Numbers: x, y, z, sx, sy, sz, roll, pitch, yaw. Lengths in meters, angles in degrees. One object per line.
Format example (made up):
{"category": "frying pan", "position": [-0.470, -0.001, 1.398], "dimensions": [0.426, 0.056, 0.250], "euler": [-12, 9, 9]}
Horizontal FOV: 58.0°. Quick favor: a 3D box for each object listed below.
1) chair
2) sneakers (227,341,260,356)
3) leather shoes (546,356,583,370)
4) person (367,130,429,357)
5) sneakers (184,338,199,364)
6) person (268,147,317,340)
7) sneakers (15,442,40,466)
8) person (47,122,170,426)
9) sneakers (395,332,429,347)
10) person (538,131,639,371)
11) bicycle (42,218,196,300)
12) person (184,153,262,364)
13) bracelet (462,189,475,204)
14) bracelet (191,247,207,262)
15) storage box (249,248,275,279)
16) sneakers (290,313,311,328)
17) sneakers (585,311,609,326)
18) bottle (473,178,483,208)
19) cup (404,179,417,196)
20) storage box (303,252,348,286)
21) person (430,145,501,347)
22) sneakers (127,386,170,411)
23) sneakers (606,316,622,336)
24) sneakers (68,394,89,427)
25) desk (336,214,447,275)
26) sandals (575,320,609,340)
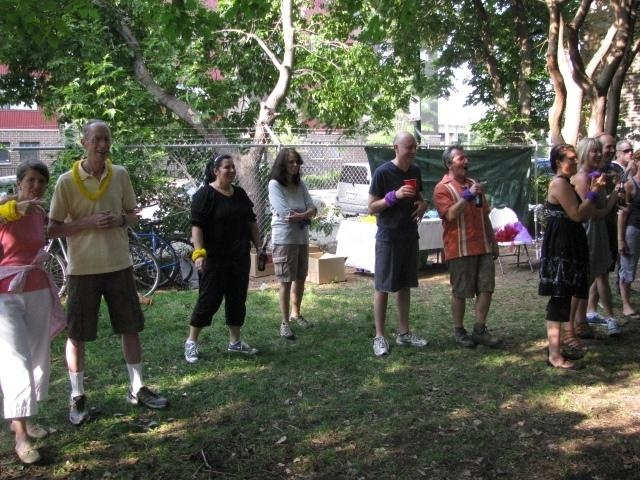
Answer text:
{"category": "chair", "position": [3.486, -0.007, 10.605], "dimensions": [0.777, 1.051, 0.804], "euler": [-2, -7, 28]}
{"category": "sneakers", "position": [-0.834, 1.165, 6.296], "dimensions": [0.325, 0.138, 0.131], "euler": [2, -1, 1]}
{"category": "leather shoes", "position": [2.430, 1.213, 5.708], "dimensions": [0.275, 0.066, 0.148], "euler": [3, 11, 45]}
{"category": "person", "position": [0.841, 0.019, 6.254], "dimensions": [0.687, 2.324, 0.603], "euler": [-4, 13, -13]}
{"category": "sneakers", "position": [-1.347, 1.167, 6.094], "dimensions": [0.102, 0.118, 0.294], "euler": [4, 7, -26]}
{"category": "person", "position": [-0.351, 0.016, 6.774], "dimensions": [0.481, 2.162, 0.680], "euler": [4, 14, 22]}
{"category": "sneakers", "position": [-2.239, 1.617, 4.426], "dimensions": [0.138, 0.132, 0.203], "euler": [-11, 16, -36]}
{"category": "person", "position": [-1.862, 0.245, 4.944], "dimensions": [0.813, 2.489, 0.573], "euler": [-7, 14, -24]}
{"category": "sneakers", "position": [1.041, 1.097, 6.444], "dimensions": [0.351, 0.150, 0.139], "euler": [1, 3, 8]}
{"category": "person", "position": [2.534, 0.130, 5.823], "dimensions": [0.548, 2.162, 0.852], "euler": [5, 15, 25]}
{"category": "bicycle", "position": [-3.147, 0.391, 9.240], "dimensions": [2.285, 1.394, 1.124], "euler": [-18, 5, -35]}
{"category": "person", "position": [-1.035, 0.190, 6.020], "dimensions": [0.892, 2.124, 0.489], "euler": [-6, 14, -19]}
{"category": "bracelet", "position": [1.580, -0.476, 6.130], "dimensions": [0.127, 0.125, 0.127], "euler": [-5, 25, 5]}
{"category": "bracelet", "position": [-1.200, 0.142, 5.745], "dimensions": [0.119, 0.072, 0.130], "euler": [-17, -7, 2]}
{"category": "storage box", "position": [-0.854, 0.368, 8.539], "dimensions": [0.505, 0.457, 0.265], "euler": [8, -11, -38]}
{"category": "sneakers", "position": [-0.233, 0.993, 7.158], "dimensions": [0.259, 0.110, 0.121], "euler": [19, 14, 13]}
{"category": "sneakers", "position": [3.328, 0.943, 6.960], "dimensions": [0.290, 0.124, 0.125], "euler": [2, 8, 7]}
{"category": "bottle", "position": [1.690, -0.441, 6.138], "dimensions": [0.087, 0.185, 0.173], "euler": [2, 13, 15]}
{"category": "cup", "position": [0.944, -0.558, 6.026], "dimensions": [0.147, 0.115, 0.144], "euler": [-8, 1, 0]}
{"category": "storage box", "position": [0.107, 0.457, 9.642], "dimensions": [0.507, 0.309, 0.505], "euler": [-3, 8, -18]}
{"category": "person", "position": [1.614, 0.086, 6.359], "dimensions": [0.714, 2.196, 0.522], "euler": [1, 13, 11]}
{"category": "sneakers", "position": [-1.527, 1.404, 5.204], "dimensions": [0.394, 0.155, 0.160], "euler": [4, 4, 16]}
{"category": "sneakers", "position": [3.344, 0.956, 6.544], "dimensions": [0.114, 0.149, 0.341], "euler": [-6, -1, 23]}
{"category": "sneakers", "position": [-2.087, 1.416, 4.967], "dimensions": [0.155, 0.145, 0.411], "euler": [11, 17, -32]}
{"category": "desk", "position": [1.073, 0.001, 9.917], "dimensions": [1.417, 0.735, 1.137], "euler": [-3, 4, -43]}
{"category": "sandals", "position": [3.031, 1.020, 6.539], "dimensions": [0.493, 0.205, 0.166], "euler": [-3, 8, -4]}
